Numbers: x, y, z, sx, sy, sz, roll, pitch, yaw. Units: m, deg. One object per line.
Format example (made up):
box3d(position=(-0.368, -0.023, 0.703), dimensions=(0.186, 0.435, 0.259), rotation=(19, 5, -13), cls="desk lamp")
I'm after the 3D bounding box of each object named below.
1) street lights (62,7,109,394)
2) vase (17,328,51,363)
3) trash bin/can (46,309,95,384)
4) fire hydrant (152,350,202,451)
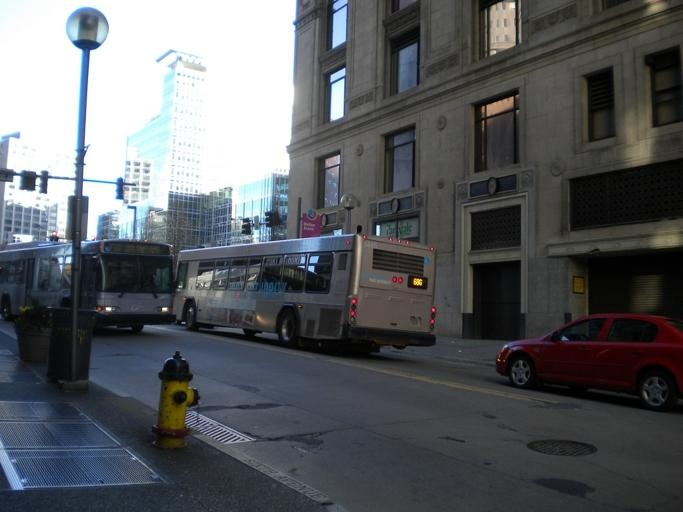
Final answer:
box3d(position=(-4.621, -1.090, 10.101), dimensions=(0.620, 6.698, 0.746), rotation=(2, -3, -33), cls="street lights")
box3d(position=(-6.703, 1.962, 12.307), dimensions=(0.832, 0.760, 0.282), rotation=(-2, -3, 23), cls="vase")
box3d(position=(-4.925, 1.644, 10.125), dimensions=(0.929, 1.547, 0.949), rotation=(-9, -10, 37), cls="trash bin/can")
box3d(position=(-2.060, 1.779, 7.021), dimensions=(0.548, 1.199, 0.417), rotation=(1, -3, -19), cls="fire hydrant")
